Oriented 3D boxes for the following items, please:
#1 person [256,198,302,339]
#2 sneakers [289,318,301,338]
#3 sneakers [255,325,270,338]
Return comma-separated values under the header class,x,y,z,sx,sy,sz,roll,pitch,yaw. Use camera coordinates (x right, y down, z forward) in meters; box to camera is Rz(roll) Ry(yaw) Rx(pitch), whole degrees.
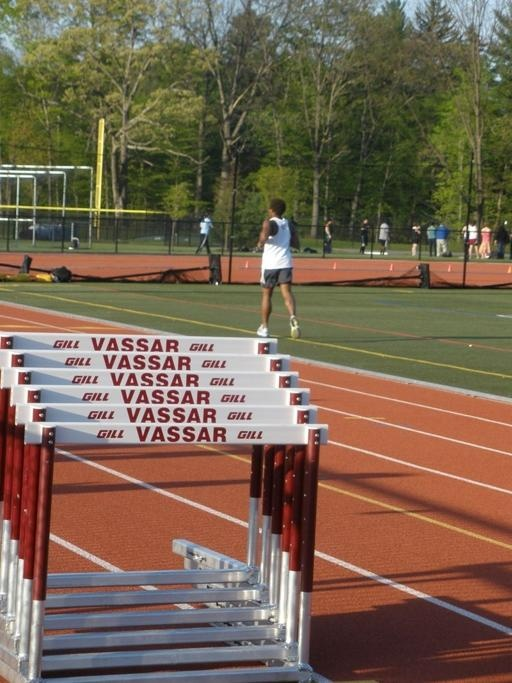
class,x,y,z,sx,sy,sz,roll,pitch,yaw
person,0.252,-0.860,14.746,0.473,1.596,1.354,2,2,1
sneakers,0.464,-0.172,15.480,0.088,0.177,0.260,-3,-22,5
sneakers,0.074,-0.099,14.343,0.117,0.139,0.318,1,2,-5
